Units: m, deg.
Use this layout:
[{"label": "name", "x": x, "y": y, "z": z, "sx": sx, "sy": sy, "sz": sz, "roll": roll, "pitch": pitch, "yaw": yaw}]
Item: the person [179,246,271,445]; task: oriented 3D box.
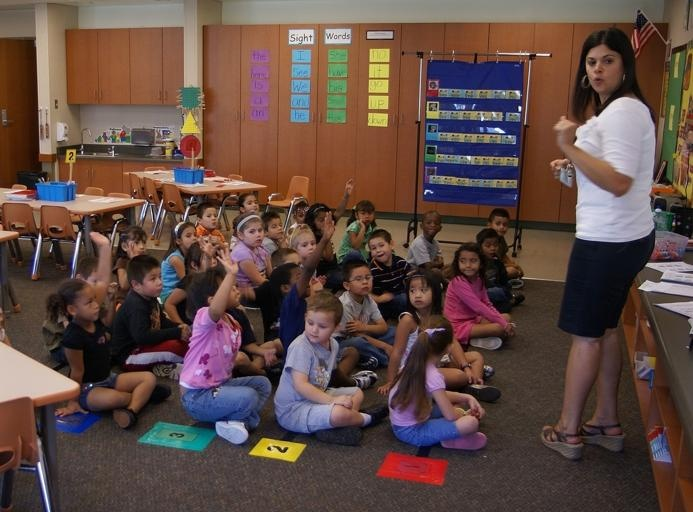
[{"label": "person", "x": -0.675, "y": 0.515, "z": 2.803, "sx": 0.485, "sy": 1.140, "sz": 0.730, "roll": 0, "pitch": 12, "yaw": -4}]

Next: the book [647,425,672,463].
[{"label": "book", "x": 1.313, "y": 0.796, "z": 2.168, "sx": 0.040, "sy": 0.143, "sz": 0.104, "roll": 0, "pitch": -6, "yaw": 0}]

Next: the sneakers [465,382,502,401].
[{"label": "sneakers", "x": 0.766, "y": 0.772, "z": 2.918, "sx": 0.213, "sy": 0.082, "sz": 0.094, "roll": 9, "pitch": 13, "yaw": 11}]

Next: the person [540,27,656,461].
[{"label": "person", "x": 1.076, "y": 0.025, "z": 2.210, "sx": 0.395, "sy": 1.885, "sz": 0.456, "roll": 9, "pitch": 16, "yaw": 31}]

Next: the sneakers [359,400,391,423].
[{"label": "sneakers", "x": 0.152, "y": 0.820, "z": 2.716, "sx": 0.063, "sy": 0.076, "sz": 0.187, "roll": 6, "pitch": 12, "yaw": 41}]

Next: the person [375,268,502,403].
[{"label": "person", "x": 0.511, "y": 0.424, "z": 3.029, "sx": 0.757, "sy": 0.771, "sz": 0.575, "roll": 0, "pitch": 14, "yaw": 17}]

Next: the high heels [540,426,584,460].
[{"label": "high heels", "x": 1.000, "y": 0.871, "z": 2.427, "sx": 0.095, "sy": 0.087, "sz": 0.213, "roll": -2, "pitch": 11, "yaw": -19}]

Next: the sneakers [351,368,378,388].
[{"label": "sneakers", "x": 0.107, "y": 0.732, "z": 3.054, "sx": 0.072, "sy": 0.070, "sz": 0.184, "roll": 5, "pitch": 9, "yaw": 38}]

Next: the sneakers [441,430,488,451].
[{"label": "sneakers", "x": 0.576, "y": 0.893, "z": 2.468, "sx": 0.145, "sy": 0.059, "sz": 0.114, "roll": -4, "pitch": -4, "yaw": 1}]

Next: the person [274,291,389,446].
[{"label": "person", "x": -0.010, "y": 0.520, "z": 2.816, "sx": 0.638, "sy": 0.861, "sz": 0.585, "roll": 2, "pitch": 5, "yaw": 24}]

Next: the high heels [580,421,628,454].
[{"label": "high heels", "x": 1.216, "y": 0.850, "z": 2.483, "sx": 0.099, "sy": 0.100, "sz": 0.240, "roll": -8, "pitch": 13, "yaw": -37}]

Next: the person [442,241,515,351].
[{"label": "person", "x": 0.927, "y": 0.234, "z": 3.980, "sx": 0.666, "sy": 0.948, "sz": 0.664, "roll": 0, "pitch": 11, "yaw": 15}]

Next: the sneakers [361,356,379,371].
[{"label": "sneakers", "x": 0.147, "y": 0.685, "z": 3.264, "sx": 0.148, "sy": 0.067, "sz": 0.051, "roll": 9, "pitch": 9, "yaw": 38}]

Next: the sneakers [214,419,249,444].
[{"label": "sneakers", "x": -0.557, "y": 0.849, "z": 2.531, "sx": 0.163, "sy": 0.080, "sz": 0.075, "roll": 23, "pitch": 12, "yaw": 24}]

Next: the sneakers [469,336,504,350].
[{"label": "sneakers", "x": 0.973, "y": 0.621, "z": 3.602, "sx": 0.199, "sy": 0.092, "sz": 0.087, "roll": -2, "pitch": 15, "yaw": 13}]

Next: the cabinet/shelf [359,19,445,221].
[{"label": "cabinet/shelf", "x": 0.782, "y": -2.034, "z": 7.759, "sx": 1.196, "sy": 2.725, "sz": 0.382, "roll": 1, "pitch": 13, "yaw": 1}]

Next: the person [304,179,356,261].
[{"label": "person", "x": -0.181, "y": -0.317, "z": 5.161, "sx": 0.412, "sy": 0.873, "sz": 0.542, "roll": 16, "pitch": 9, "yaw": 36}]

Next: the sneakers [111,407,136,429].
[{"label": "sneakers", "x": -1.122, "y": 0.820, "z": 2.616, "sx": 0.140, "sy": 0.068, "sz": 0.065, "roll": 28, "pitch": 6, "yaw": 33}]

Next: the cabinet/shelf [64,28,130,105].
[{"label": "cabinet/shelf", "x": -4.269, "y": -3.306, "z": 8.866, "sx": 1.203, "sy": 1.302, "sz": 0.483, "roll": 2, "pitch": 5, "yaw": 14}]
